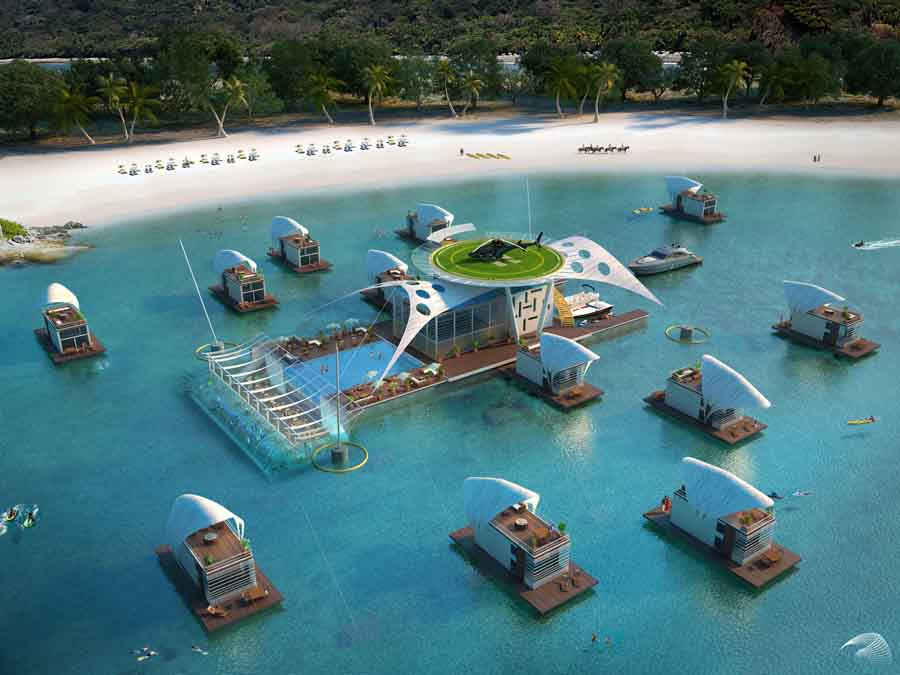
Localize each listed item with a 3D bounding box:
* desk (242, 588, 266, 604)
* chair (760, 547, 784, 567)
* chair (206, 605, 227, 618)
[{"bbox_3d":[-11.503,15.162,36.939,1.187,0.610,0.651,-4,55,-12],"label":"desk"},{"bbox_3d":[19.925,13.575,38.881,1.715,0.413,0.972,-23,34,-30],"label":"chair"},{"bbox_3d":[-13.339,15.714,35.992,1.187,0.308,0.689,17,36,34],"label":"chair"}]
